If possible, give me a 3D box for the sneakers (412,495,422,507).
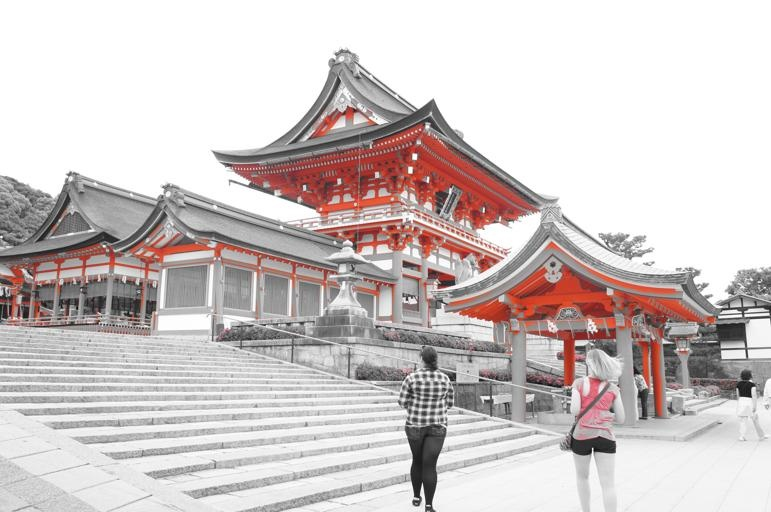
[{"bbox_3d":[0.469,3.796,8.402,0.103,0.125,0.184,-1,-30,3],"label":"sneakers"}]
